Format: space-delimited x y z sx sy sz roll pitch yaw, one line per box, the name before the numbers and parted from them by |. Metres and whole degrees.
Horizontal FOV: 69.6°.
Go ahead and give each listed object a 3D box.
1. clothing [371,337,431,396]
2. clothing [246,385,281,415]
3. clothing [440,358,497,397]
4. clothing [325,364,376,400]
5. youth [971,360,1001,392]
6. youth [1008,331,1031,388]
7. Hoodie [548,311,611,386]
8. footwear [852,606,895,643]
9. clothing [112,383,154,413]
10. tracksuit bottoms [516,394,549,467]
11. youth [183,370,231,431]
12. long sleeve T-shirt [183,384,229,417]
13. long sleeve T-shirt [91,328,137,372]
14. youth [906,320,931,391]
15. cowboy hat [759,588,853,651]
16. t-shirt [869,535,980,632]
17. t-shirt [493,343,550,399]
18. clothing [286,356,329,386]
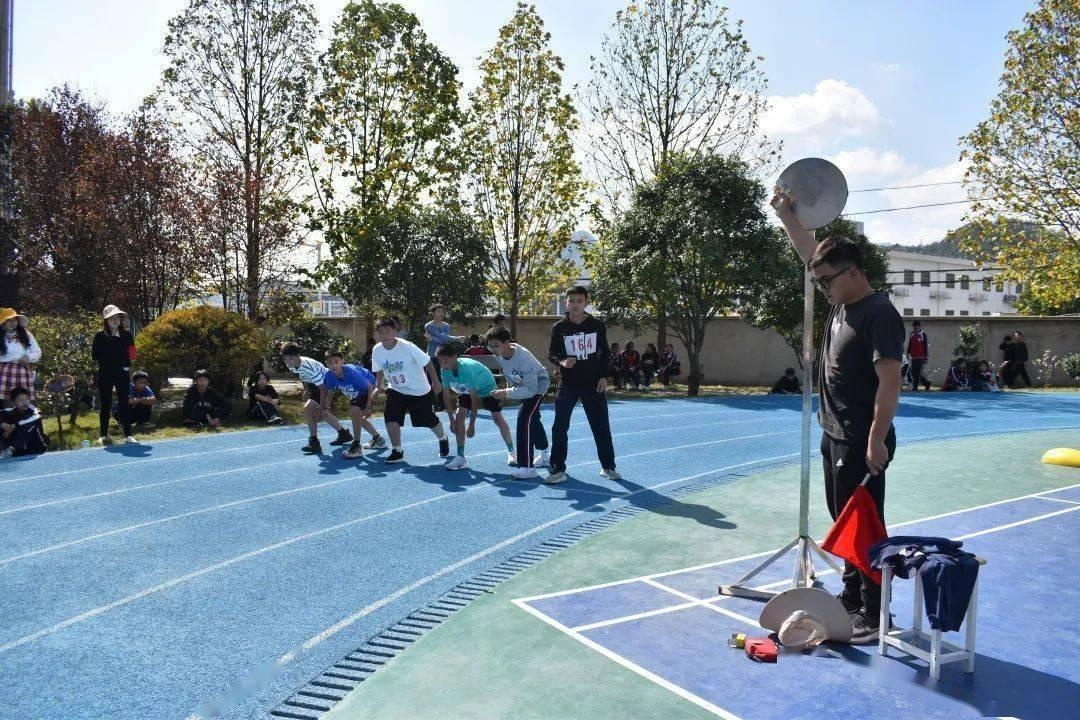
clothing | -2.059 0.122 11.445 0.885 0.850 0.424 -15 16 21
clothing | -5.638 0.826 15.738 0.424 0.613 0.292 -30 -29 25
clothing | -1.035 0.212 11.157 0.688 0.524 0.518 -1 -7 -41
clothing | -2.919 0.302 12.296 0.599 0.252 0.574 -16 -26 13
youth | 12.595 0.476 21.982 0.442 0.688 1.076 -9 17 32
youth | 14.513 0.007 23.424 0.557 1.616 1.288 5 11 32
Hoodie | 0.506 -0.071 10.185 0.892 1.184 0.800 -2 -4 3
footwear | 2.746 2.175 6.394 0.520 0.255 0.184 5 -6 -34
clothing | -7.330 0.685 13.963 0.545 0.987 0.473 -6 -6 39
tracksuit bottoms | -0.124 0.968 10.772 0.322 1.046 0.922 1 9 9
youth | -6.371 0.726 14.763 0.716 1.078 0.497 3 10 19
long sleeve T-shirt | -6.395 0.826 14.913 0.666 0.799 0.611 8 7 38
long sleeve T-shirt | -7.313 -0.167 13.305 0.736 0.877 0.437 -1 9 -25
youth | 10.641 0.022 21.771 0.545 2.036 2.456 4 10 27
cowboy hat | 2.155 2.070 6.211 0.516 0.578 0.149 -9 12 8
t-shirt | 2.896 1.582 5.987 0.692 0.692 0.730 1 0 -34
t-shirt | -0.237 0.163 10.708 0.705 0.663 0.716 -20 -3 -26
clothing | -3.540 0.178 11.960 0.459 0.192 0.487 8 -24 26
